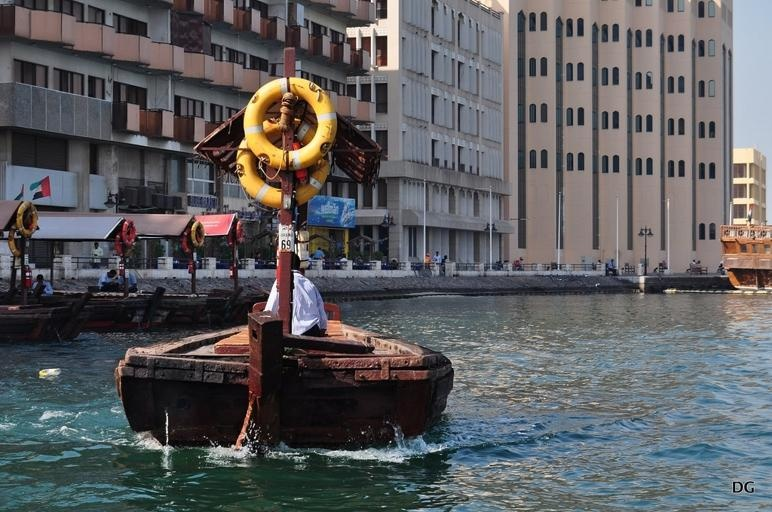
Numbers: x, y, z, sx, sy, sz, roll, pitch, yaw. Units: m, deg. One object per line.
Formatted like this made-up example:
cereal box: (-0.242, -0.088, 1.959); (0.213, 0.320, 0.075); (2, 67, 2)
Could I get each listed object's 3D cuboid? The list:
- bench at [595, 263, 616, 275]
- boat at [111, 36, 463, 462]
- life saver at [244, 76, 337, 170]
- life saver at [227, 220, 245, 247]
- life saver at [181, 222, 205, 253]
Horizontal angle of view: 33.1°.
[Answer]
bench: (19.097, 1.271, 111.265); (0.927, 0.958, 1.571); (0, 2, -28)
boat: (-2.613, -0.379, 40.319); (9.854, 11.809, 7.273); (3, 6, 3)
life saver: (-2.878, -4.004, 40.666); (2.870, 2.789, 0.757); (-3, 0, 0)
life saver: (-6.993, -0.944, 62.428); (0.459, 1.199, 0.900); (14, 6, -26)
life saver: (-9.014, -0.757, 61.035); (0.519, 1.244, 1.413); (19, -19, -3)
